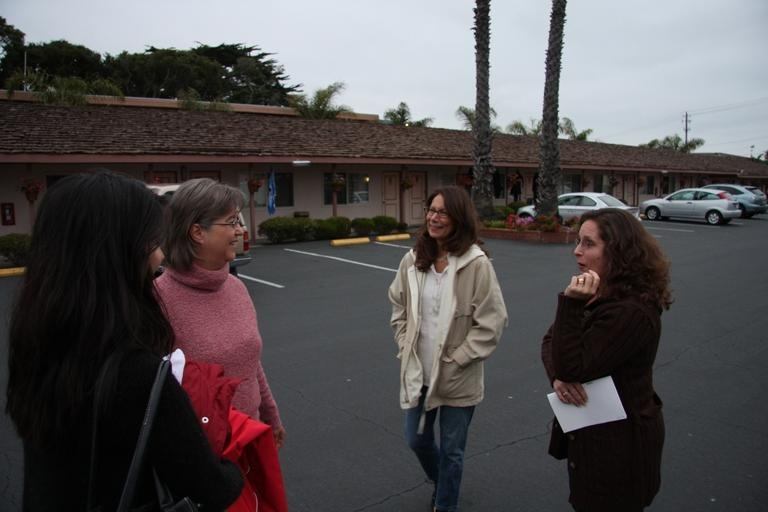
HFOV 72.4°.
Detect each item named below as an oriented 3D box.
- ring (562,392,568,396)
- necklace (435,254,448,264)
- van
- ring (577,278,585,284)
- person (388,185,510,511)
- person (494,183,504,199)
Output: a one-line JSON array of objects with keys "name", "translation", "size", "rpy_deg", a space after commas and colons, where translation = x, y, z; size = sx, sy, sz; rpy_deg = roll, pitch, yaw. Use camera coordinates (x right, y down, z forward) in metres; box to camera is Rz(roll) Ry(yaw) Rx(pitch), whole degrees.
[{"name": "ring", "translation": [0.910, 0.690, 2.635], "size": [0.015, 0.012, 0.015], "rpy_deg": [0, 6, 0]}, {"name": "necklace", "translation": [0.374, 0.024, 3.495], "size": [0.056, 0.076, 0.047], "rpy_deg": [-5, -35, 8]}, {"name": "van", "translation": [-3.355, -0.376, 10.077], "size": [1.954, 1.865, 3.597], "rpy_deg": [-2, 2, -22]}, {"name": "ring", "translation": [0.986, 0.125, 2.621], "size": [0.024, 0.024, 0.018], "rpy_deg": [-4, -17, 9]}, {"name": "person", "translation": [0.417, 0.560, 3.442], "size": [0.742, 2.004, 0.642], "rpy_deg": [-1, 8, 1]}, {"name": "person", "translation": [5.764, -3.293, 26.461], "size": [0.623, 0.541, 0.904], "rpy_deg": [-17, 8, 26]}]
